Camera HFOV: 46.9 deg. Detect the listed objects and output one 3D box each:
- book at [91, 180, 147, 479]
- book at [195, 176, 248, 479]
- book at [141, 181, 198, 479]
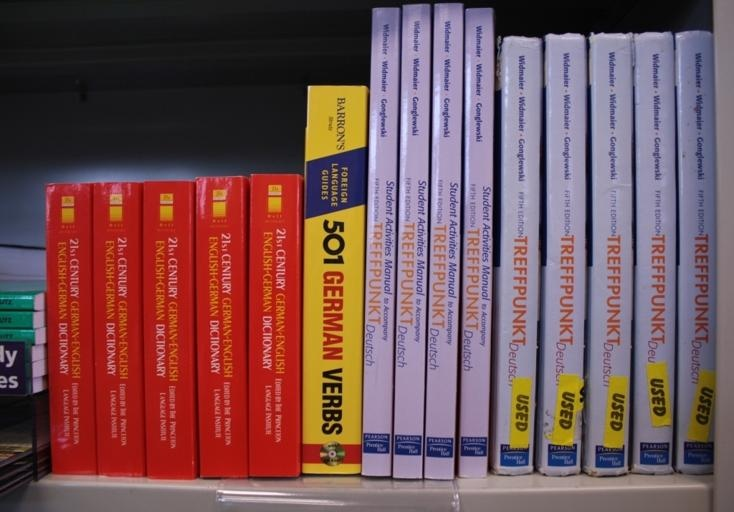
[{"bbox_3d":[-0.592,0.178,2.012,0.118,0.698,0.063,0,-4,-7],"label":"book"},{"bbox_3d":[-0.344,0.172,2.001,0.118,0.710,0.066,0,-4,-9],"label":"book"},{"bbox_3d":[-0.470,0.178,2.004,0.116,0.702,0.047,-1,-4,2],"label":"book"}]
